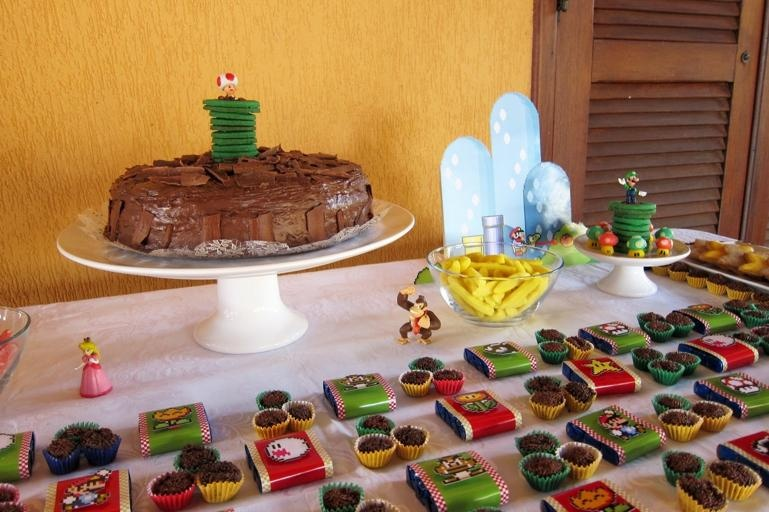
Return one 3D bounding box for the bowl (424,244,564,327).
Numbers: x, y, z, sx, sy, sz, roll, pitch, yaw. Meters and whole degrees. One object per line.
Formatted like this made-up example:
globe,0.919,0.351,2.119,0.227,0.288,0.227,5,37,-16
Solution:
bowl,0.255,0.049,1.174,0.254,0.099,0.231,0,8,0
